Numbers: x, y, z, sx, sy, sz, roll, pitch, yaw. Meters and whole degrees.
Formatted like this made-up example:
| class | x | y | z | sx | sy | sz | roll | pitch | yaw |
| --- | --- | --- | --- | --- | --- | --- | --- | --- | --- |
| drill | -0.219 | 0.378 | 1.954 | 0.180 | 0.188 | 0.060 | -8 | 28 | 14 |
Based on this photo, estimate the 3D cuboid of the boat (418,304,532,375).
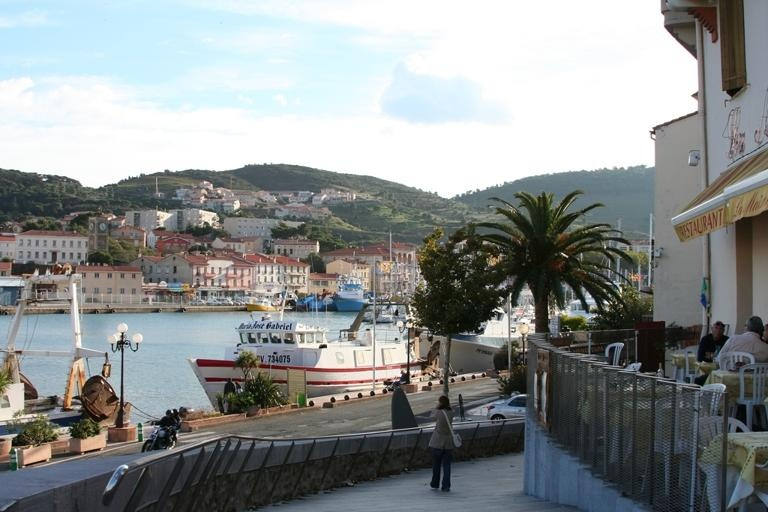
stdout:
| class | x | y | z | sx | sy | sz | roll | pitch | yaw |
| --- | --- | --- | --- | --- | --- | --- | --- | --- | --- |
| boat | 6.882 | 5.412 | 63.828 | 3.155 | 3.497 | 10.135 | -5 | -9 | 38 |

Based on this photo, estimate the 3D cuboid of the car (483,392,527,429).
| class | x | y | z | sx | sy | sz | roll | pitch | yaw |
| --- | --- | --- | --- | --- | --- | --- | --- | --- | --- |
| car | 4.321 | 5.432 | 37.732 | 1.314 | 0.943 | 3.150 | -4 | 0 | 4 |

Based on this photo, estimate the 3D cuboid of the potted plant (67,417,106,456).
| class | x | y | z | sx | sy | sz | roll | pitch | yaw |
| --- | --- | --- | --- | --- | --- | --- | --- | --- | --- |
| potted plant | -9.878 | 5.969 | 35.126 | 0.721 | 1.075 | 1.234 | -7 | -5 | 23 |

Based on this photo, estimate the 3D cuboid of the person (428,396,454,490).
| class | x | y | z | sx | sy | sz | roll | pitch | yaw |
| --- | --- | --- | --- | --- | --- | --- | --- | --- | --- |
| person | 1.412 | 4.666 | 26.630 | 0.657 | 2.316 | 1.514 | -4 | 0 | 2 |

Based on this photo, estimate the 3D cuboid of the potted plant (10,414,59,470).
| class | x | y | z | sx | sy | sz | roll | pitch | yaw |
| --- | --- | --- | --- | --- | --- | --- | --- | --- | --- |
| potted plant | -11.050 | 5.868 | 33.619 | 1.089 | 1.654 | 1.835 | 0 | 1 | 29 |

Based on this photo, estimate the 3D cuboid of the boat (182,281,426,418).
| class | x | y | z | sx | sy | sz | roll | pitch | yaw |
| --- | --- | --- | --- | --- | --- | --- | --- | --- | --- |
| boat | -2.925 | 5.299 | 54.517 | 4.639 | 5.302 | 15.322 | -6 | -7 | 38 |

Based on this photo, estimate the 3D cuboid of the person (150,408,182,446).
| class | x | y | z | sx | sy | sz | roll | pitch | yaw |
| --- | --- | --- | --- | --- | --- | --- | --- | --- | --- |
| person | -6.909 | 5.448 | 33.625 | 0.679 | 0.874 | 1.517 | 7 | -9 | 13 |
